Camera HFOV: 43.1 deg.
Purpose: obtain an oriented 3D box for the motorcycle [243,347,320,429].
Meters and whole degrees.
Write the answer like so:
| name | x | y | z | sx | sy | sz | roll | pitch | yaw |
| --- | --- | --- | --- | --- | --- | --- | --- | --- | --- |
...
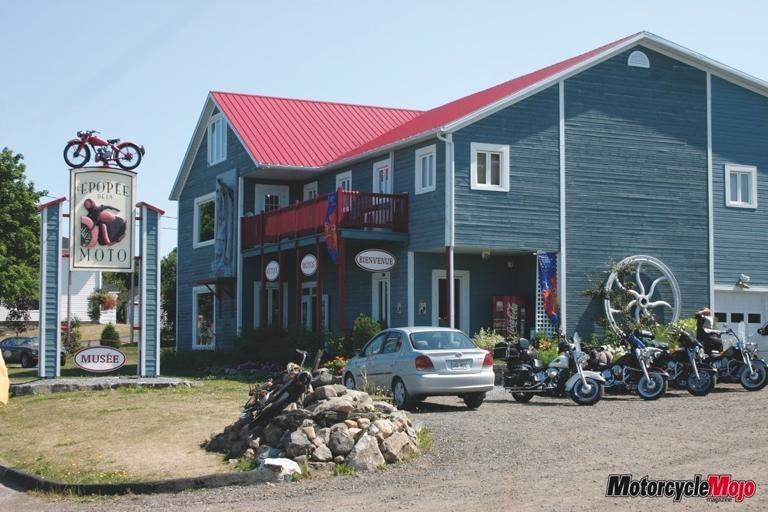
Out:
| name | x | y | z | sx | sy | sz | roll | pitch | yaw |
| --- | --- | --- | --- | --- | --- | --- | --- | --- | --- |
| motorcycle | -2.203 | 2.902 | 22.067 | 1.960 | 1.090 | 1.181 | 11 | -4 | -14 |

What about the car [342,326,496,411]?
| name | x | y | z | sx | sy | sz | roll | pitch | yaw |
| --- | --- | --- | --- | --- | --- | --- | --- | --- | --- |
| car | 0.848 | 2.951 | 25.506 | 3.610 | 2.105 | 1.482 | -6 | -9 | 37 |
